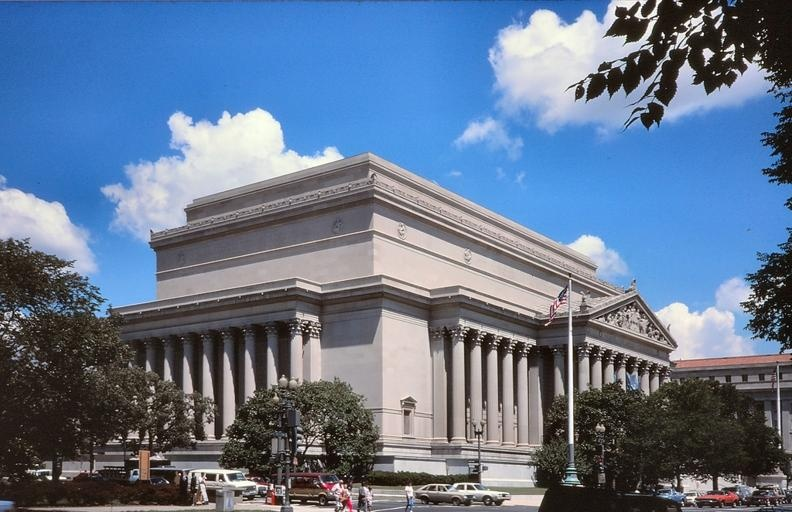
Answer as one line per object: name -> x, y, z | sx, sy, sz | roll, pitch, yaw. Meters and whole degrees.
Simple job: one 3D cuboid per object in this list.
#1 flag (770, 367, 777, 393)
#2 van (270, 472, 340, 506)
flag -> 63.133, 20.369, 164.844 | 0.575, 3.848, 8.701 | -5, -20, 17
van -> -6.626, 18.408, 77.344 | 7.012, 2.660, 2.787 | -4, -12, 18
